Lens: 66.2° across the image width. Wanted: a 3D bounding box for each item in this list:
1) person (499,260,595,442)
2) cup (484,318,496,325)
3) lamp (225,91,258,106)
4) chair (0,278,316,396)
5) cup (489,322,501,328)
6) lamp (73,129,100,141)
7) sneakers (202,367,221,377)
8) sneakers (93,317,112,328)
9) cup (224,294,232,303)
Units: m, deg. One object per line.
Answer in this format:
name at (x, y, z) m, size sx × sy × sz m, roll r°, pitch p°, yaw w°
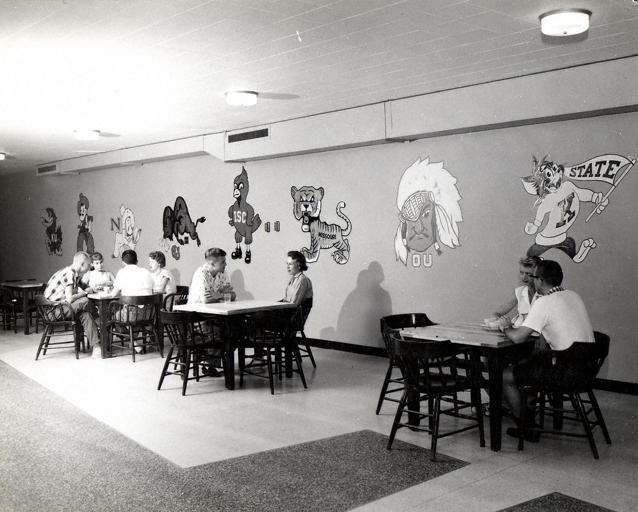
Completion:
person at (1.846, 0.774, 3.966) m, size 0.654 × 1.484 × 0.537 m, roll 0°, pitch 2°, yaw 29°
cup at (1.551, 0.609, 4.482) m, size 0.072 × 0.050 × 0.075 m, roll 3°, pitch 11°, yaw -1°
lamp at (-0.968, -1.999, 6.185) m, size 0.410 × 0.127 × 0.320 m, roll -1°, pitch 1°, yaw -9°
chair at (-1.475, 1.063, 6.212) m, size 2.822 × 0.937 × 1.434 m, roll 0°, pitch 2°, yaw 37°
cup at (1.576, 0.619, 4.402) m, size 0.057 × 0.038 × 0.060 m, roll 0°, pitch 6°, yaw 0°
lamp at (-3.898, -2.064, 8.238) m, size 0.307 × 0.140 × 0.505 m, roll -2°, pitch 2°, yaw -33°
sneakers at (-1.392, 1.459, 6.296) m, size 0.106 × 0.144 × 0.296 m, roll 4°, pitch 1°, yaw -44°
sneakers at (-3.340, 1.020, 7.525) m, size 0.332 × 0.129 × 0.209 m, roll 3°, pitch 4°, yaw 41°
cup at (-1.183, 0.558, 6.390) m, size 0.097 × 0.123 × 0.102 m, roll 1°, pitch 2°, yaw 0°
